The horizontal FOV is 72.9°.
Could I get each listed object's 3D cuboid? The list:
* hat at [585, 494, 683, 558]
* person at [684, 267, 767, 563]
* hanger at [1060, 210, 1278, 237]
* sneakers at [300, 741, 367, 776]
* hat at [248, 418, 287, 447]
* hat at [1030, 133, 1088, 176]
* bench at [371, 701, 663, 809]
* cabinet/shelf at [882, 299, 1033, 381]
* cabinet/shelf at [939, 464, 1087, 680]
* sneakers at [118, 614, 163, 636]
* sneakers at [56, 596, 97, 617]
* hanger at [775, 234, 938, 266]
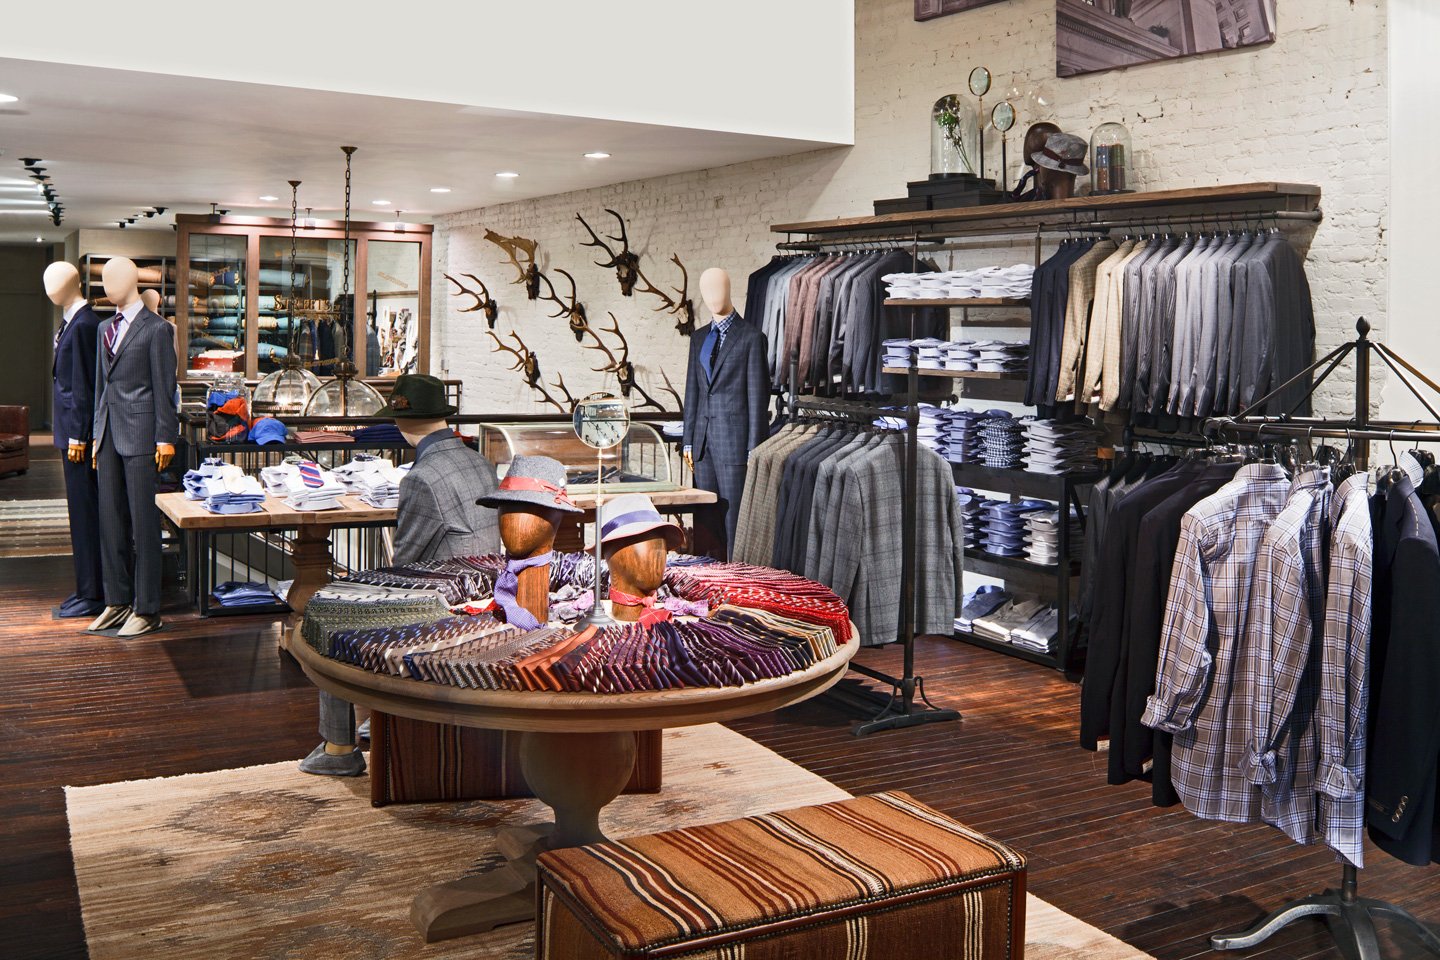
[{"bbox_3d":[-0.291,0.147,2.893,0.189,0.080,0.211,4,-27,-47],"label":"hat"},{"bbox_3d":[0.065,-0.465,6.655,0.594,1.887,0.900,1,14,-2],"label":"person"},{"bbox_3d":[2.574,-1.505,5.832,0.471,0.129,1.288,-7,15,-33],"label":"hanger"},{"bbox_3d":[-1.705,1.226,4.316,0.253,0.088,0.142,2,-2,17],"label":"sneakers"},{"bbox_3d":[-2.963,-0.310,6.392,0.248,0.178,0.207,-5,15,-24],"label":"hat"},{"bbox_3d":[2.135,-2.028,6.075,0.341,0.270,0.282,6,14,17],"label":"hat"},{"bbox_3d":[-0.955,1.087,4.000,0.966,0.456,0.134,-4,-7,16],"label":"bench"},{"bbox_3d":[1.463,-0.845,6.071,0.907,0.542,2.109,5,13,14],"label":"cabinet/shelf"},{"bbox_3d":[1.820,0.550,5.969,0.465,1.032,1.346,-5,7,-31],"label":"cabinet/shelf"},{"bbox_3d":[-3.680,0.932,6.244,0.105,0.097,0.283,-1,0,37],"label":"sneakers"},{"bbox_3d":[-4.339,0.873,6.594,0.229,0.082,0.116,3,-3,-25],"label":"sneakers"},{"bbox_3d":[0.969,-1.756,7.390,0.684,0.203,1.564,-11,18,-44],"label":"hanger"}]
